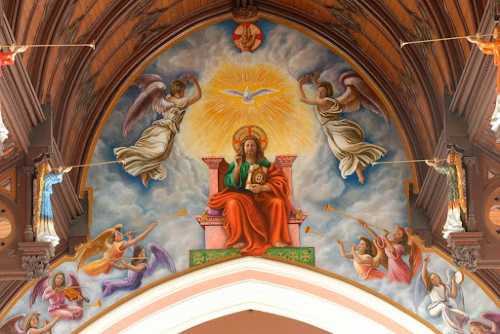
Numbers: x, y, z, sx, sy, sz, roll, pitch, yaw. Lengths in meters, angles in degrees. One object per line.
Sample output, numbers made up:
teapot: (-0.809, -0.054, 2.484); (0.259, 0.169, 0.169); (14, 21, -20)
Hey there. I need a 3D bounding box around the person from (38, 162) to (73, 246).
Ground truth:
person: (-4.112, 0.813, 32.266); (0.876, 0.571, 1.771); (4, -77, 24)
